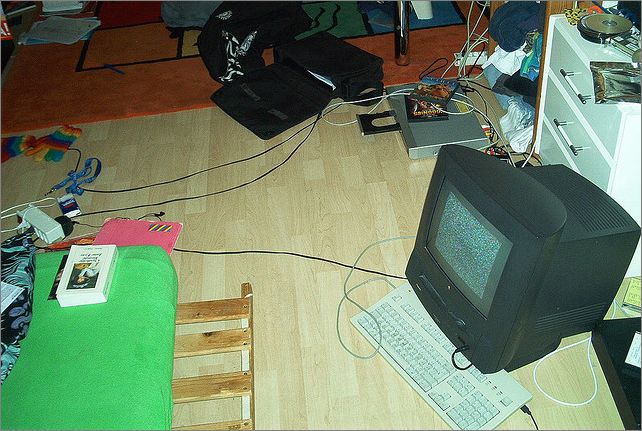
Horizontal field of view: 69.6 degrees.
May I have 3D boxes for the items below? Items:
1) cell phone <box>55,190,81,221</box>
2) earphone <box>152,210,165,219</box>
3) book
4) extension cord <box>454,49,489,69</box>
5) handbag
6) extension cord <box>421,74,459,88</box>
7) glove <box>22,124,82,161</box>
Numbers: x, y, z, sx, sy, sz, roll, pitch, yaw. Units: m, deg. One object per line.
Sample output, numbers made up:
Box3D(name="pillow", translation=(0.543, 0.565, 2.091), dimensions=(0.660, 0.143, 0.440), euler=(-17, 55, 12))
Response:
Box3D(name="cell phone", translation=(-1.455, -0.050, 2.659), dimensions=(0.141, 0.023, 0.232), euler=(-19, 54, -21))
Box3D(name="earphone", translation=(-0.918, -0.010, 2.606), dimensions=(0.056, 0.011, 0.033), euler=(-11, 53, -2))
Box3D(name="book", translation=(-0.940, 0.220, 1.852), dimensions=(0.184, 0.072, 0.246), euler=(-2, 38, -3))
Box3D(name="extension cord", translation=(1.086, -1.122, 3.352), dimensions=(0.215, 0.055, 0.149), euler=(-2, 47, 0))
Box3D(name="handbag", translation=(-0.145, -0.894, 3.174), dimensions=(1.012, 0.283, 0.801), euler=(-37, 51, -19))
Box3D(name="extension cord", translation=(0.753, -0.851, 2.962), dimensions=(0.240, 0.040, 0.122), euler=(15, 54, 25))
Box3D(name="glove", translation=(-1.792, -0.477, 3.092), dimensions=(0.268, 0.104, 0.177), euler=(-19, 49, -19))
